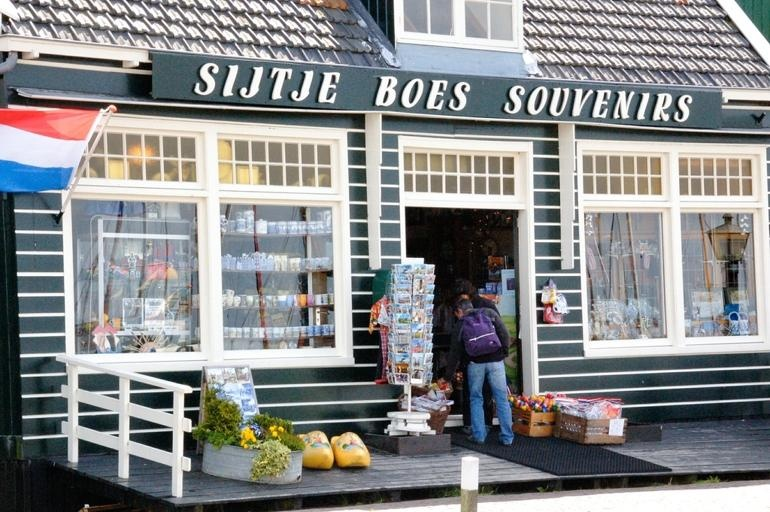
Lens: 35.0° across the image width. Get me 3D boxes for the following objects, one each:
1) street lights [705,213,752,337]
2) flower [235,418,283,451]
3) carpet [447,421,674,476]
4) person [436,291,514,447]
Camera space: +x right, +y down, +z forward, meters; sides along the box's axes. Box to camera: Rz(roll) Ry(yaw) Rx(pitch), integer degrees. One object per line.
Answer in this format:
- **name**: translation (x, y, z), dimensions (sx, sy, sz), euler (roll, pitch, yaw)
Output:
- **street lights**: translation (5.170, 0.296, 18.400), dimensions (0.638, 1.986, 0.801), euler (0, 4, 25)
- **flower**: translation (-1.478, 2.115, 14.739), dimensions (0.567, 0.379, 0.535), euler (-1, -6, 7)
- **carpet**: translation (2.211, 2.548, 15.867), dimensions (1.483, 0.489, 2.754), euler (4, -7, -38)
- **person**: translation (1.247, 1.546, 16.505), dimensions (0.862, 2.074, 0.813), euler (-6, -5, 1)
